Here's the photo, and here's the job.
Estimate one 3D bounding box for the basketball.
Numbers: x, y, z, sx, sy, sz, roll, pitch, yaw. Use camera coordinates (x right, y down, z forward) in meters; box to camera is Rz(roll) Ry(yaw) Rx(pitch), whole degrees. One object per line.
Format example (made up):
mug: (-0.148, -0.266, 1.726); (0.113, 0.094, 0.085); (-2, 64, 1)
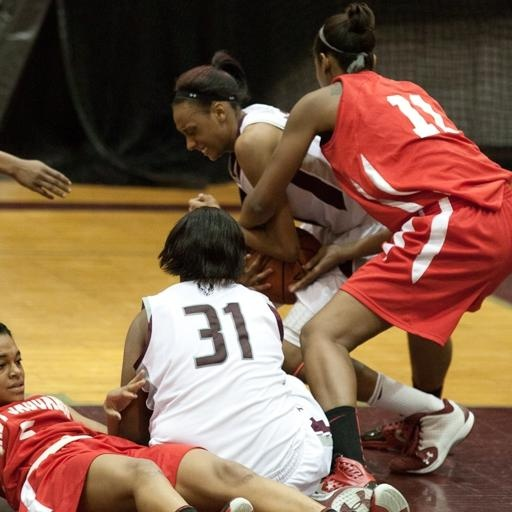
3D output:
basketball: (0.067, 0.026, 2.110); (0.242, 0.229, 0.225); (4, 2, 5)

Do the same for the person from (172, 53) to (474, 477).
person: (0.194, 0.018, 2.237); (0.779, 1.247, 0.414); (-3, 15, 16)
